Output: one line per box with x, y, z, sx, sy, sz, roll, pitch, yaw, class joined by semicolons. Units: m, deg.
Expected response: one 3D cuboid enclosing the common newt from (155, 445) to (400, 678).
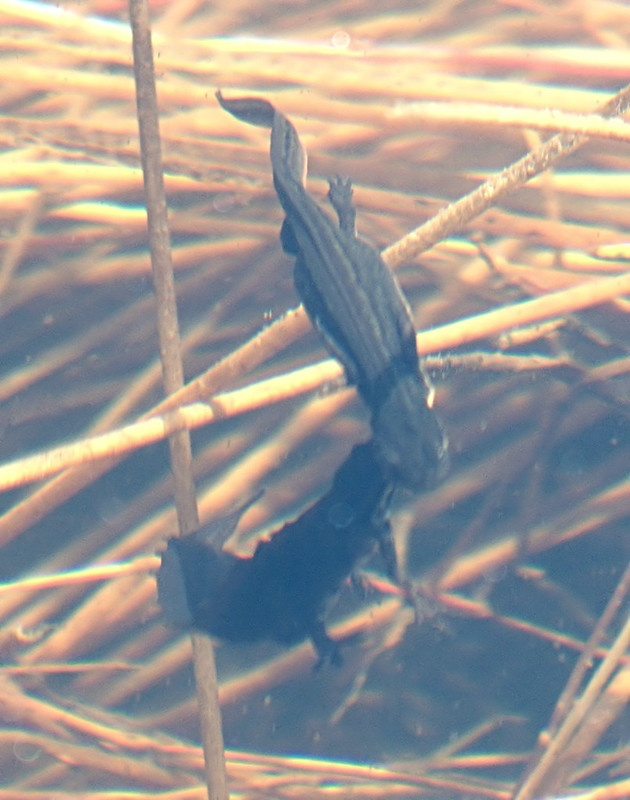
-0.030;0.120;1.266;0.176;0.135;0.056;-39;7;1;common newt

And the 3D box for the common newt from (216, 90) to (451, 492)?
0.031;-0.095;1.336;0.086;0.346;0.053;-36;-13;34;common newt
